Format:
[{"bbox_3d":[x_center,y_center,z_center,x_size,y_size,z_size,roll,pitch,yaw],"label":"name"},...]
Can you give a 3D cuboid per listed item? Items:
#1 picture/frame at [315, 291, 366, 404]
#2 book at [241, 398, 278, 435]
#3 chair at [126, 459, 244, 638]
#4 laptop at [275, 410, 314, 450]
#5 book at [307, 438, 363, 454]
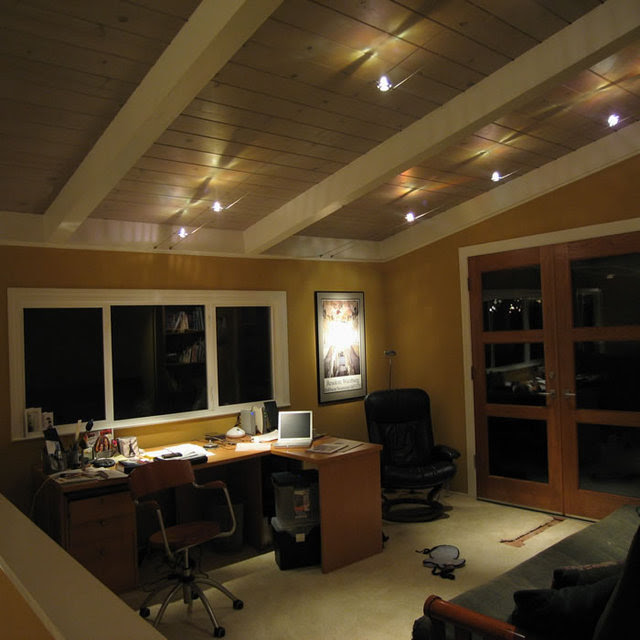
[{"bbox_3d":[0.221,0.275,5.694,0.691,1.167,0.038,-2,0,-38],"label":"picture/frame"},{"bbox_3d":[-0.516,0.863,4.869,0.331,0.325,0.271,2,4,37],"label":"book"},{"bbox_3d":[-0.881,1.367,3.635,0.735,0.988,1.444,-3,-1,-16],"label":"chair"},{"bbox_3d":[-0.205,0.896,4.393,0.301,0.293,0.239,0,-14,2],"label":"laptop"},{"bbox_3d":[0.109,0.969,4.191,0.370,0.054,0.484,1,-5,16],"label":"book"}]
